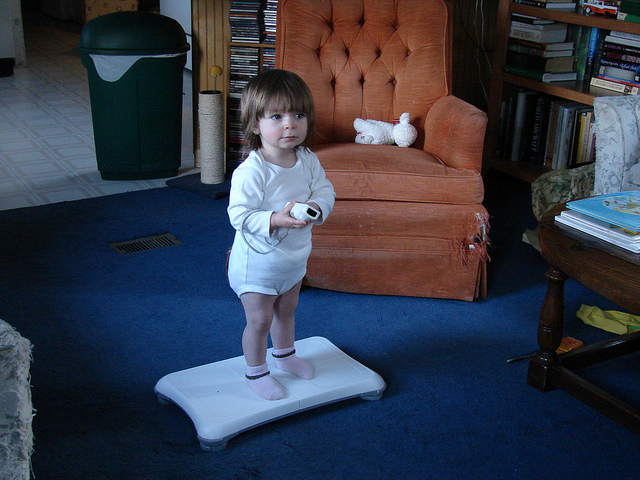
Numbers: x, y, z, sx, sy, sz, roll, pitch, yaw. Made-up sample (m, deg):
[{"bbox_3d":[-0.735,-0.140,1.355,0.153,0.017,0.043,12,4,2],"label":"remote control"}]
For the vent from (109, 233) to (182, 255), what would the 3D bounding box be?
[{"bbox_3d":[-0.836,0.017,2.433,0.243,0.010,0.096,-10,31,-28],"label":"vent"}]

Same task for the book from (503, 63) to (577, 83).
[{"bbox_3d":[1.306,-1.003,3.081,0.424,0.091,0.209,7,21,14],"label":"book"}]

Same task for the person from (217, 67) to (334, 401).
[{"bbox_3d":[-0.135,-0.030,1.588,0.313,0.951,0.592,-2,23,-9],"label":"person"}]

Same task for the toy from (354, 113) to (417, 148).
[{"bbox_3d":[0.294,-0.489,2.320,0.262,0.125,0.149,4,39,4],"label":"toy"}]

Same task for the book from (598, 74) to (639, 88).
[{"bbox_3d":[1.590,-0.858,2.747,0.055,0.055,0.272,-2,20,-9],"label":"book"}]

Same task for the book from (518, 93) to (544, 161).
[{"bbox_3d":[1.296,-0.706,3.217,0.085,0.413,0.032,8,24,14],"label":"book"}]

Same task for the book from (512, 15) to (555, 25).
[{"bbox_3d":[1.258,-1.328,3.079,0.242,0.059,0.096,20,27,40],"label":"book"}]

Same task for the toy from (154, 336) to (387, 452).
[{"bbox_3d":[-0.153,0.457,1.581,0.630,0.107,0.303,-8,23,-26],"label":"toy"}]

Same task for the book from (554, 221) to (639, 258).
[{"bbox_3d":[0.778,-0.004,1.460,0.021,0.032,0.241,-15,26,-34],"label":"book"}]

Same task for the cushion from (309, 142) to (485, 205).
[{"bbox_3d":[0.304,-0.288,2.160,0.680,0.177,0.375,1,21,-2],"label":"cushion"}]
